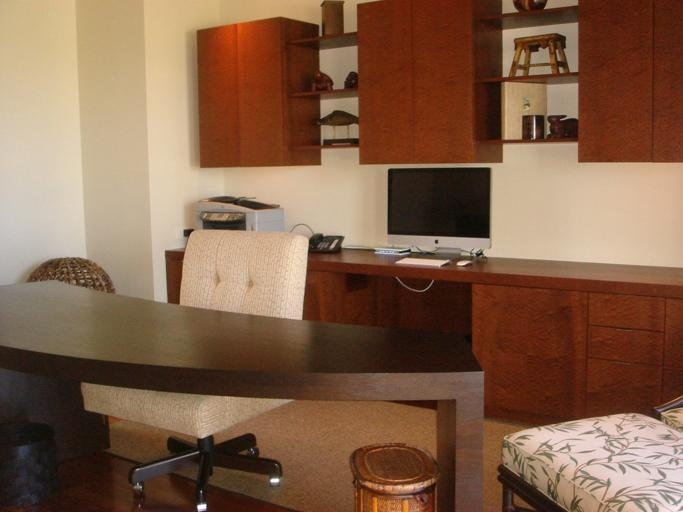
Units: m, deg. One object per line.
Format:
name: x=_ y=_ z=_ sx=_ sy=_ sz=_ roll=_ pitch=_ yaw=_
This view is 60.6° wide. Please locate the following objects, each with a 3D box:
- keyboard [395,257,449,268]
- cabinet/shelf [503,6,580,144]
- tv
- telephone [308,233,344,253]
keyboard: x=0.523 y=0.036 z=3.778 sx=0.346 sy=0.021 sz=0.315 roll=2 pitch=8 yaw=11
cabinet/shelf: x=1.258 y=-1.186 z=3.721 sx=0.529 sy=0.911 sz=0.493 roll=4 pitch=11 yaw=20
tv: x=0.682 y=-0.314 z=4.045 sx=0.216 sy=0.567 sz=0.882 roll=-9 pitch=10 yaw=-44
telephone: x=-0.117 y=-0.101 z=4.438 sx=0.257 sy=0.123 sz=0.274 roll=0 pitch=9 yaw=-3
